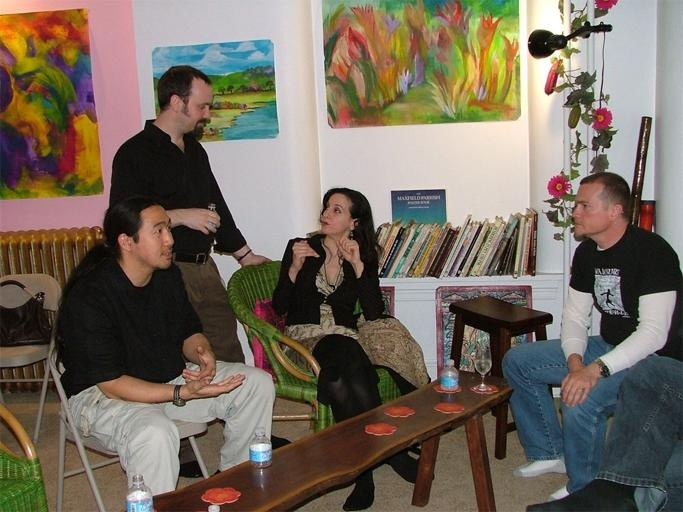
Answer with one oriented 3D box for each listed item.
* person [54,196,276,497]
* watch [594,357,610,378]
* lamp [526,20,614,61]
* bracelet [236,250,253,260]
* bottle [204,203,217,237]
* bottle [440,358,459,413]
[{"bbox_3d":[-0.894,0.509,2.559,0.958,1.485,0.810,7,12,16],"label":"person"},{"bbox_3d":[1.285,0.544,2.655,0.056,0.090,0.079,-30,33,-27],"label":"watch"},{"bbox_3d":[1.528,-1.468,3.610,0.465,0.260,0.269,4,-20,37],"label":"lamp"},{"bbox_3d":[-0.644,-0.008,3.539,0.094,0.051,0.067,-45,-9,16],"label":"bracelet"},{"bbox_3d":[-0.751,-0.217,3.143,0.126,0.187,0.059,9,4,43],"label":"bottle"},{"bbox_3d":[0.556,0.614,2.752,0.091,0.150,0.099,1,3,0],"label":"bottle"}]
